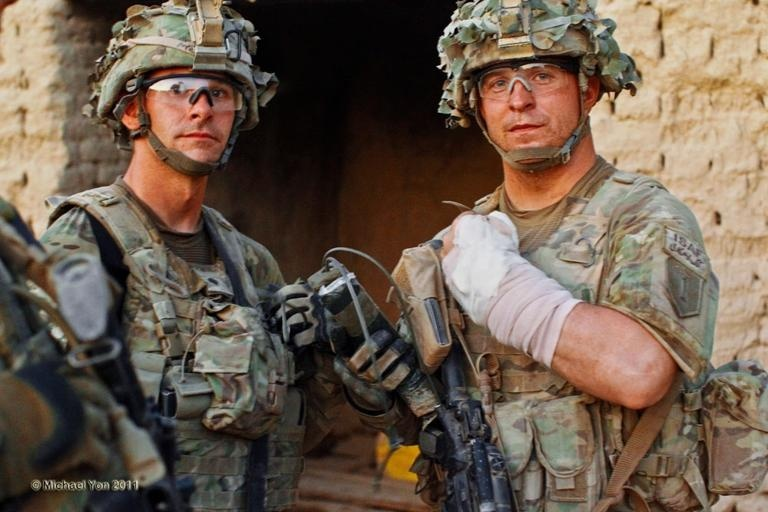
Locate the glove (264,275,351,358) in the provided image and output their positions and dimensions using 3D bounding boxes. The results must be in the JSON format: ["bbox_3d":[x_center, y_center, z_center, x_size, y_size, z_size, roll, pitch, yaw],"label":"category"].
[{"bbox_3d":[-0.427,0.351,8.066,0.441,0.433,0.191,-19,-2,19],"label":"glove"}]

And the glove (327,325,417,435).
[{"bbox_3d":[0.008,0.706,8.155,0.491,0.258,0.358,41,-24,-2],"label":"glove"}]
